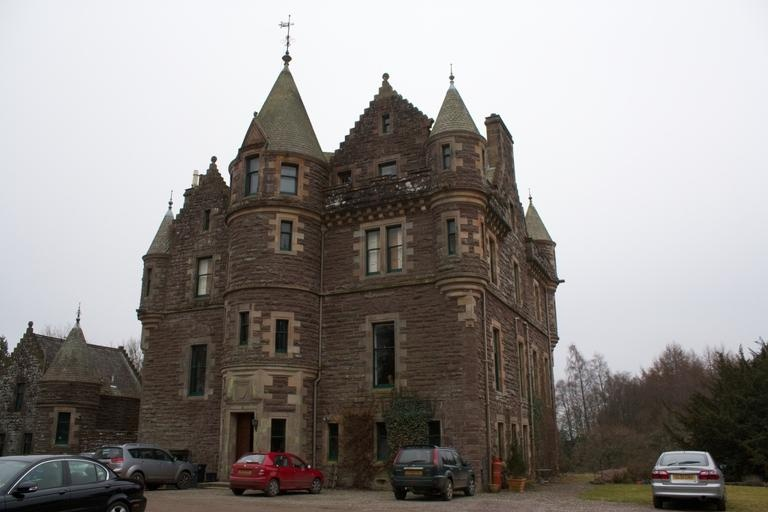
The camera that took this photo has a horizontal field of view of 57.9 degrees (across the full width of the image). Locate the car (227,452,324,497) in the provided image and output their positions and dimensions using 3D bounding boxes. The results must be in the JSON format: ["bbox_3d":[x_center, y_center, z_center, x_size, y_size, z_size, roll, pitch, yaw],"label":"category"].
[{"bbox_3d":[-5.035,10.074,32.584,3.822,1.538,2.195,11,-18,-41],"label":"car"}]

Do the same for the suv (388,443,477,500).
[{"bbox_3d":[2.650,9.919,31.496,4.516,2.292,1.754,14,-26,-34],"label":"suv"}]

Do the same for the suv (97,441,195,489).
[{"bbox_3d":[-11.693,10.096,33.397,2.435,2.064,4.991,-10,-18,39],"label":"suv"}]
